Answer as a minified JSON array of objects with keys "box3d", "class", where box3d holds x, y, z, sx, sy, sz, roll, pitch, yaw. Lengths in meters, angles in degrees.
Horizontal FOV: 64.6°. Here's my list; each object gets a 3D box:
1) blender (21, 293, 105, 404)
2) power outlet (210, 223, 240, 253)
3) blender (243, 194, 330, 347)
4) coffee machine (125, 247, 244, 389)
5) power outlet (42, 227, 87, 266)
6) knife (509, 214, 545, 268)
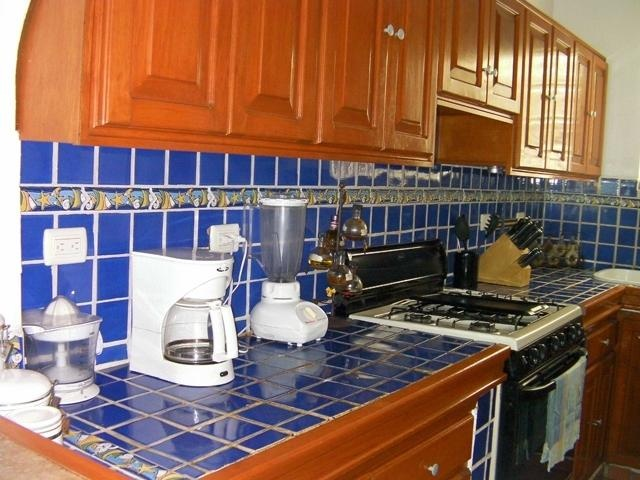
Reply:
[{"box3d":[-0.632,0.269,1.285,0.190,0.252,0.160,6,15,-39],"class":"blender"},{"box3d":[-0.300,0.001,1.709,0.086,0.080,0.125,12,11,32],"class":"power outlet"},{"box3d":[-0.109,0.112,1.822,0.313,0.480,0.251,6,3,25],"class":"blender"},{"box3d":[-0.347,0.202,1.468,0.262,0.361,0.286,11,11,34],"class":"coffee machine"},{"box3d":[-0.671,0.021,1.344,0.019,0.101,0.104,3,3,41],"class":"power outlet"},{"box3d":[1.198,-0.019,3.060,0.218,0.345,0.275,9,10,40],"class":"knife"}]
